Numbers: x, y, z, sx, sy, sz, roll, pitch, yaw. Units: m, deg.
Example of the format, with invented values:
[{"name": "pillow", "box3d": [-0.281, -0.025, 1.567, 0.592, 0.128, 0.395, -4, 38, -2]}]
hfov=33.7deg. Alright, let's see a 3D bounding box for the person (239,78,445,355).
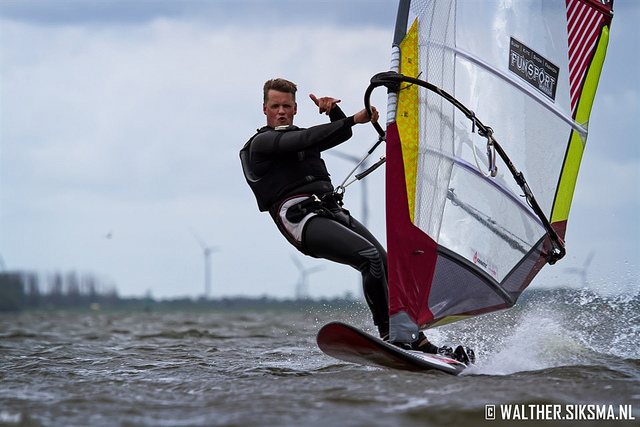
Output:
[{"name": "person", "box3d": [-0.023, -0.071, 9.924, 1.485, 2.420, 0.521, 0, 6, 27]}]
